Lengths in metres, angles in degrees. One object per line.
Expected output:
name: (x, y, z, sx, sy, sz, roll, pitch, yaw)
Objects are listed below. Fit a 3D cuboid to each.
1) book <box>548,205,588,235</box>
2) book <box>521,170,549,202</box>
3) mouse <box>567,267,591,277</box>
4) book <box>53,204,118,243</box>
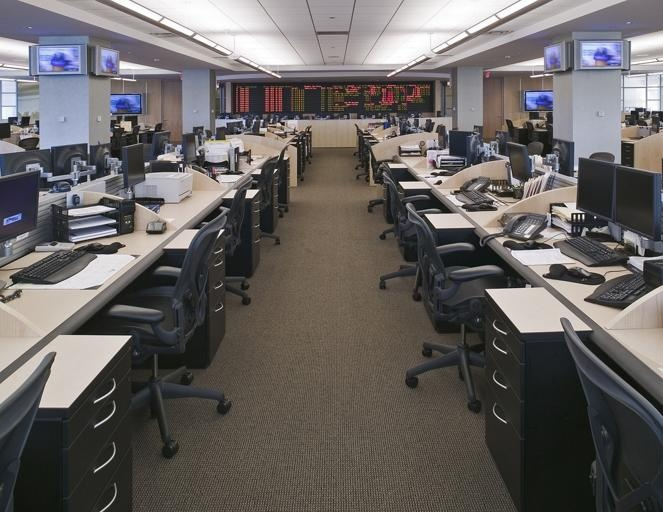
book: (1.438, -0.225, 3.061, 0.130, 0.086, 0.182, 0, 14, 1)
book: (1.549, -0.540, 3.821, 0.074, 0.226, 0.206, 25, -12, -22)
mouse: (1.155, 0.062, 2.352, 0.052, 0.028, 0.073, -2, 12, -20)
book: (-1.469, -0.202, 3.012, 0.198, 0.188, 0.295, 11, 18, 32)
